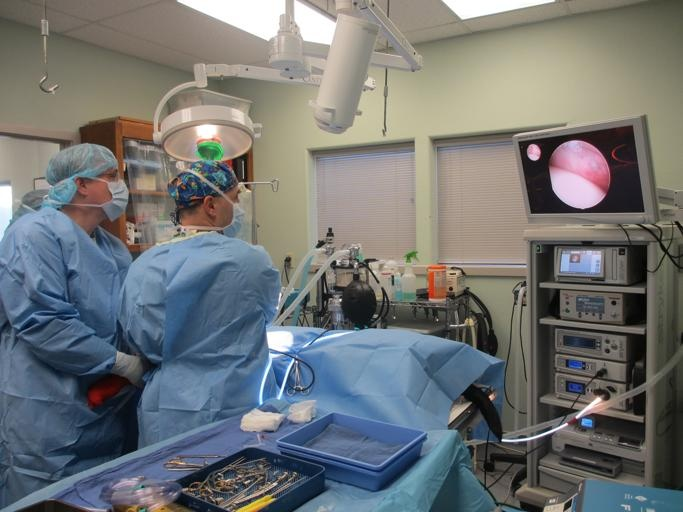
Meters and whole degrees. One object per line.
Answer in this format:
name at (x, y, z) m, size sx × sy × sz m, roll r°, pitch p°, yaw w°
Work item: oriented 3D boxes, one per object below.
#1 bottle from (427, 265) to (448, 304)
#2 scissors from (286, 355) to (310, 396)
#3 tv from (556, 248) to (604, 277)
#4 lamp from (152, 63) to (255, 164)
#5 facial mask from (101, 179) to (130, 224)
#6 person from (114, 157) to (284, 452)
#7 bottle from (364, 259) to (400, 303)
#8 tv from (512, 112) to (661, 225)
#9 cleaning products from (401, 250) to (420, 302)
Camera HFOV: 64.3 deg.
bottle at (0.635, 0.173, 3.553) m, size 0.133 × 0.223 × 0.088 m, roll 0°, pitch 3°, yaw -5°
scissors at (-0.171, 0.440, 2.024) m, size 0.102 × 0.053 × 0.150 m, roll 8°, pitch 42°, yaw -19°
tv at (1.243, 0.030, 2.832) m, size 0.060 × 0.145 × 0.235 m, roll -2°, pitch 3°, yaw -38°
lamp at (-0.549, -0.558, 2.262) m, size 0.331 × 0.244 × 0.458 m, roll -3°, pitch -7°, yaw 6°
facial mask at (-0.961, -0.239, 2.370) m, size 0.141 × 0.120 × 0.127 m, roll 2°, pitch 4°, yaw -7°
person at (-0.567, 0.371, 2.155) m, size 0.516 × 1.486 × 0.448 m, roll 3°, pitch 24°, yaw -15°
bottle at (0.242, 0.149, 3.745) m, size 0.315 × 0.336 × 0.175 m, roll -1°, pitch -6°, yaw -23°
tv at (1.260, -0.436, 2.738) m, size 0.104 × 0.604 × 0.756 m, roll -29°, pitch 20°, yaw -38°
cleaning products at (0.455, 0.135, 3.689) m, size 0.096 × 0.320 × 0.237 m, roll 1°, pitch 3°, yaw 7°
